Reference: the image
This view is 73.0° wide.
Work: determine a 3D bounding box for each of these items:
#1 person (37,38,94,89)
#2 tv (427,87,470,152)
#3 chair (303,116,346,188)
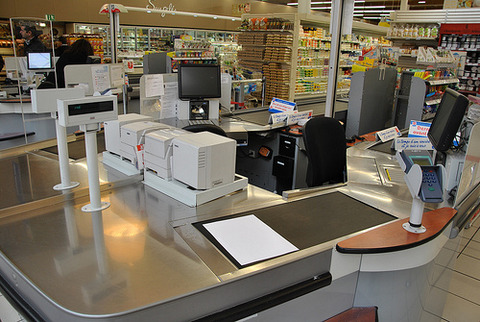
[{"bbox_3d":[-2.758,-1.522,5.078,0.706,0.699,1.098,-6,20,-14],"label":"person"},{"bbox_3d":[1.527,-0.301,2.378,0.146,0.381,0.402,11,22,18],"label":"tv"},{"bbox_3d":[0.864,-0.083,3.282,0.498,0.680,0.257,-13,23,-31],"label":"chair"}]
